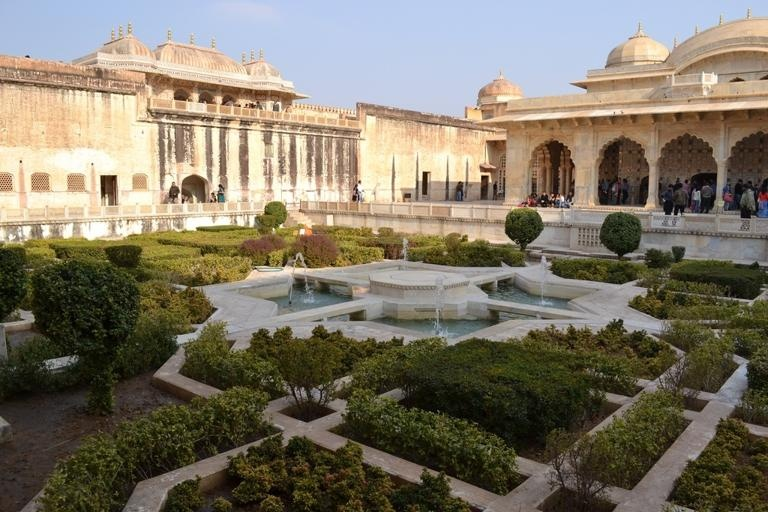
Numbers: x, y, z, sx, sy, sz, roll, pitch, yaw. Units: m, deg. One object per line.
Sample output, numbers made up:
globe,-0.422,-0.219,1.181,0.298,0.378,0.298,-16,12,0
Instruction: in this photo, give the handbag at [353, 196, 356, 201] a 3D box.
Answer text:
handbag,-1.509,-3.018,32.956,0.264,0.203,0.267,0,5,-10

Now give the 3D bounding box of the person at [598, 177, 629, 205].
person,10.295,-2.905,28.321,1.129,1.152,0.648,10,22,34

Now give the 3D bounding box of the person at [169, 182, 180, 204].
person,-9.368,-2.806,28.440,0.434,0.804,0.716,-6,16,-20
